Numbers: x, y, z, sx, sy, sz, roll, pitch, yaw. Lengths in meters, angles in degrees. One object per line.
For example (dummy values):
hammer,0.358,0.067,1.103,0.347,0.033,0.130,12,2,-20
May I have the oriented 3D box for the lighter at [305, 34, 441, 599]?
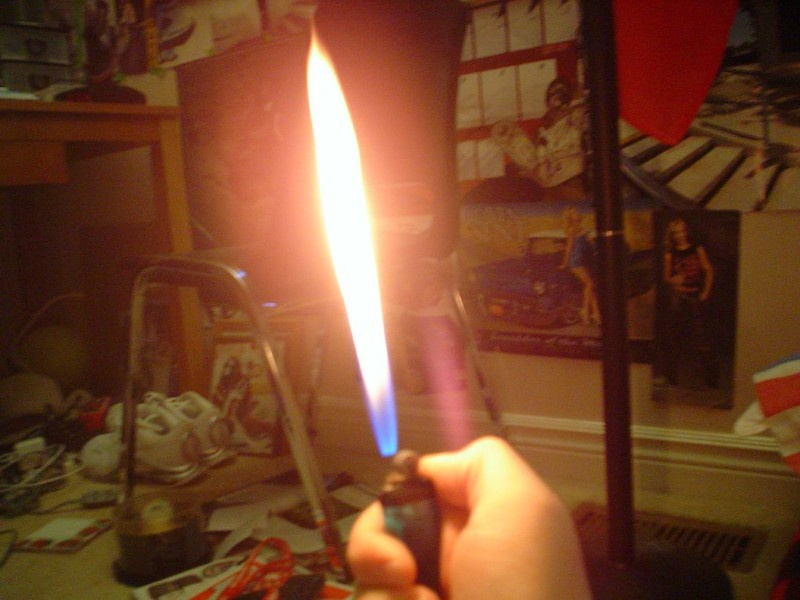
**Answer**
lighter,-0.038,0.024,0.967,0.174,0.811,0.074,-2,4,11
